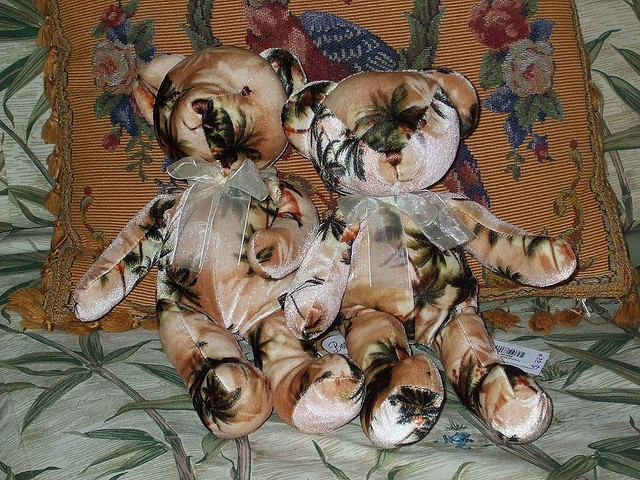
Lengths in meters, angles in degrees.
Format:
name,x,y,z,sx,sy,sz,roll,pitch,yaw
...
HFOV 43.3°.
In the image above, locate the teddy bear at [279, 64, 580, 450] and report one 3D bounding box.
name,x,y,z,sx,sy,sz,roll,pitch,yaw
teddy bear,0.152,-0.008,1.465,0.569,0.602,0.525,-12,-52,5
